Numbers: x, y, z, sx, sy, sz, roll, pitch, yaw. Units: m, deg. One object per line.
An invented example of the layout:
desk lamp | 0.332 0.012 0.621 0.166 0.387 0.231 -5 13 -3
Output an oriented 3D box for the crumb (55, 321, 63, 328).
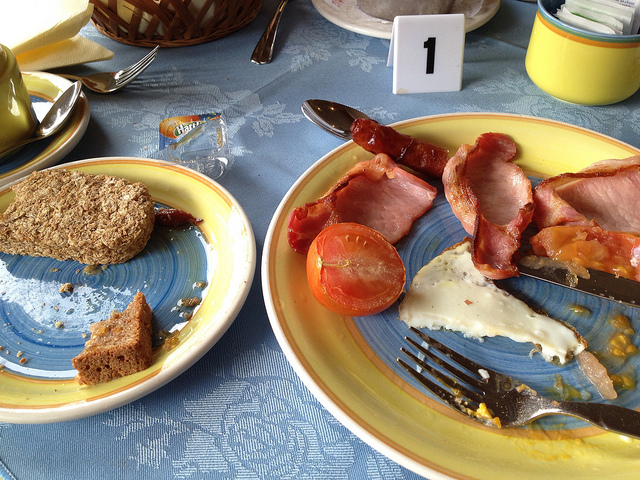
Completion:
crumb | -0.537 0.172 1.190 0.015 0.004 0.013 -17 60 -8

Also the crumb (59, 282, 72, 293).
crumb | -0.548 0.101 1.246 0.025 0.008 0.023 0 59 2

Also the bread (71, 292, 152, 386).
bread | -0.396 0.181 1.159 0.115 0.053 0.168 -21 35 -4

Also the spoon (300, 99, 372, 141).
spoon | 0.021 -0.341 1.589 0.270 0.029 0.081 31 67 30

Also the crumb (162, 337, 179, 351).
crumb | -0.297 0.206 1.150 0.028 0.007 0.030 2 59 4

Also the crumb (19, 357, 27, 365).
crumb | -0.586 0.238 1.144 0.012 0.002 0.014 -11 59 -4
